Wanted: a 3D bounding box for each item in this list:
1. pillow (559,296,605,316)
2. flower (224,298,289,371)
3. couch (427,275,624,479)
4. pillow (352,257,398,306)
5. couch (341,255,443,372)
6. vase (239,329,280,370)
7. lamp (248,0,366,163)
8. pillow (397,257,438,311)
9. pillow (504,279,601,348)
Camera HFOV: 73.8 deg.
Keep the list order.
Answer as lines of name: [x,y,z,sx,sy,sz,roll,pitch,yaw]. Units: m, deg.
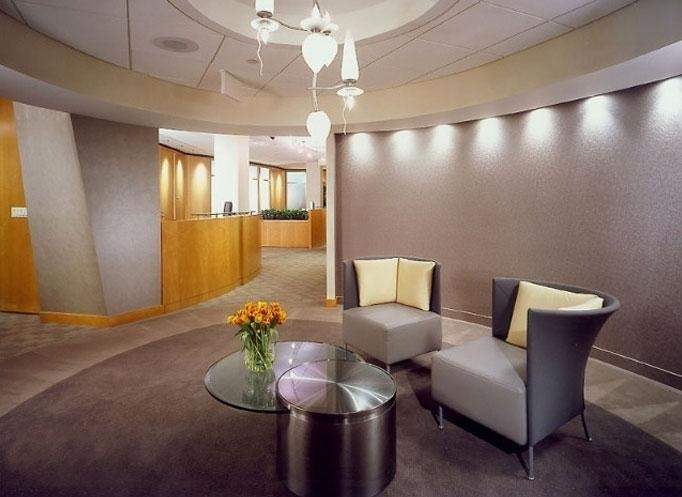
pillow: [2.107,0.520,3.952,0.266,0.116,0.642,6,12,34]
flower: [-0.829,0.841,4.559,0.600,0.671,0.653,1,1,32]
couch: [1.770,1.124,4.509,1.592,1.706,1.655,0,0,-36]
pillow: [0.420,0.445,5.769,0.512,0.514,0.181,1,-16,-14]
couch: [0.649,0.754,5.862,1.271,1.378,1.146,3,0,-38]
vase: [-0.772,0.977,4.447,0.383,0.423,0.384,-1,-7,-1]
lamp: [-0.416,-2.151,5.829,0.583,2.438,1.996,-2,-2,45]
pillow: [0.940,0.462,5.606,0.190,0.514,0.531,6,1,-33]
pillow: [1.884,0.601,4.123,0.230,0.459,0.581,34,-3,-18]
